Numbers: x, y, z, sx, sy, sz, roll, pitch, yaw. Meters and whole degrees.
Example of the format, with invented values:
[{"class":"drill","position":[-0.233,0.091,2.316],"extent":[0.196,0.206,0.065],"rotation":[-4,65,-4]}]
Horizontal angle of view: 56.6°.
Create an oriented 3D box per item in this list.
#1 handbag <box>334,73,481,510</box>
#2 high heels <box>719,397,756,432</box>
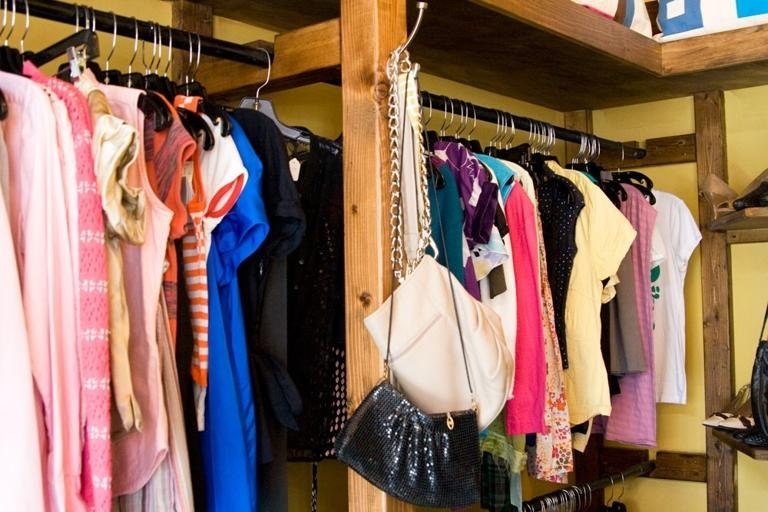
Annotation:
[{"class":"handbag","position":[0.075,0.081,1.930],"extent":[0.364,1.162,0.161],"rotation":[0,-7,7]},{"class":"high heels","position":[1.556,0.703,3.162],"extent":[0.133,0.128,0.342],"rotation":[-3,-9,25]}]
